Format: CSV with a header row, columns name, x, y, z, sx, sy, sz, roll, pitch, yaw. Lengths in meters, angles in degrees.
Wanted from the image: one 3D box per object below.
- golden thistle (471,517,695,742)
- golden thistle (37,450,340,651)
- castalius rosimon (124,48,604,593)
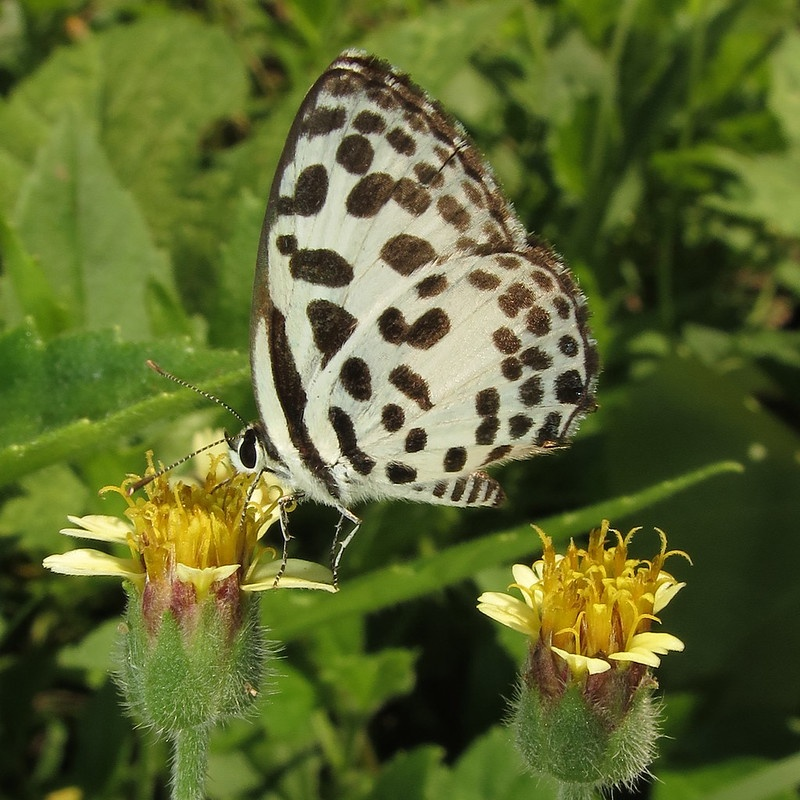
name,x,y,z,sx,sy,sz,roll,pitch,yaw
golden thistle,0.346,0.375,1.971,0.362,0.302,0.320,1,3,17
golden thistle,-0.395,0.268,2.031,0.341,0.450,0.631,-4,9,-18
castalius rosimon,-0.003,-0.217,2.415,1.109,1.026,0.429,1,19,-5
